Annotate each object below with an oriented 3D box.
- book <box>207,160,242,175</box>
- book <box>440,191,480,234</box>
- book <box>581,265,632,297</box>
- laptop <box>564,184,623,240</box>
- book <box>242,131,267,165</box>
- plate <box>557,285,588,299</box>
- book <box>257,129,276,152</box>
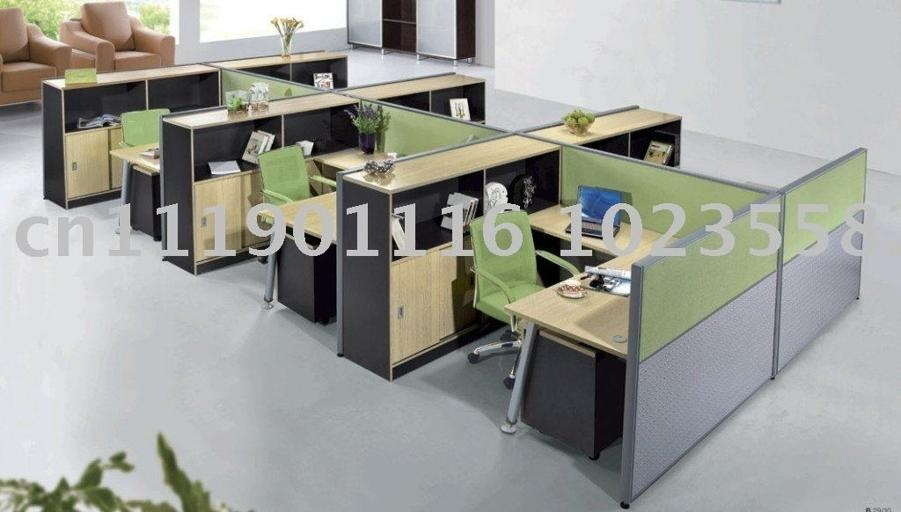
[{"bbox_3d":[-2.682,-1.044,7.428,0.261,0.053,0.249,-7,24,-22],"label":"book"},{"bbox_3d":[0.097,-0.432,6.232,0.395,0.364,0.102,10,-3,38],"label":"book"},{"bbox_3d":[1.388,0.222,5.536,0.337,0.089,0.242,8,26,19],"label":"book"},{"bbox_3d":[1.414,-0.437,6.283,0.483,0.337,0.553,-26,33,-36],"label":"laptop"},{"bbox_3d":[-2.373,-1.310,7.619,0.383,0.469,0.196,28,28,37],"label":"book"},{"bbox_3d":[1.043,0.312,5.423,0.237,0.090,0.113,4,13,11],"label":"plate"},{"bbox_3d":[-2.256,-1.413,7.677,0.302,0.265,0.166,22,27,36],"label":"book"}]
